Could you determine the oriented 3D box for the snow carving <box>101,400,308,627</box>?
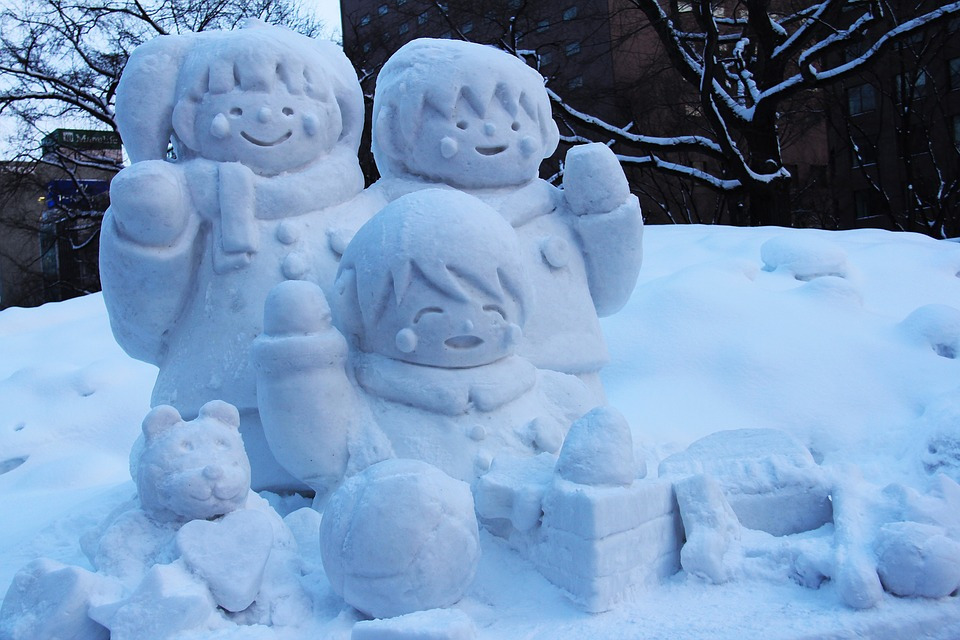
[{"bbox_3d":[-1.328,0.909,4.463,0.873,0.798,1.024,2,-5,-27],"label":"snow carving"}]

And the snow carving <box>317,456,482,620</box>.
[{"bbox_3d":[-0.354,0.985,4.321,0.667,0.711,0.544,9,-30,6],"label":"snow carving"}]

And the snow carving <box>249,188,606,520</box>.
[{"bbox_3d":[-0.331,0.219,5.009,1.602,1.904,0.835,-2,5,-25],"label":"snow carving"}]
